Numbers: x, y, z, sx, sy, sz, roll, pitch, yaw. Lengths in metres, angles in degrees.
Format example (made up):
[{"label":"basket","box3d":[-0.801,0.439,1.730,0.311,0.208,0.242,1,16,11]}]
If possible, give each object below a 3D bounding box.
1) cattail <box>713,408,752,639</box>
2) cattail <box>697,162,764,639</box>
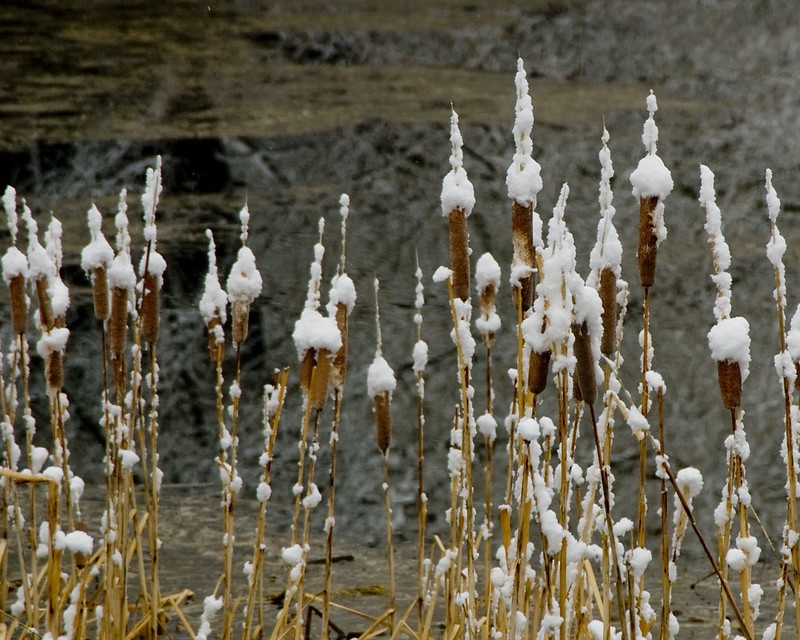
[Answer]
[{"label":"cattail","box3d":[1.571,0.934,13.065,0.152,1.028,0.255,-2,2,21]},{"label":"cattail","box3d":[1.579,0.490,12.893,0.228,2.444,0.361,-2,2,3]}]
